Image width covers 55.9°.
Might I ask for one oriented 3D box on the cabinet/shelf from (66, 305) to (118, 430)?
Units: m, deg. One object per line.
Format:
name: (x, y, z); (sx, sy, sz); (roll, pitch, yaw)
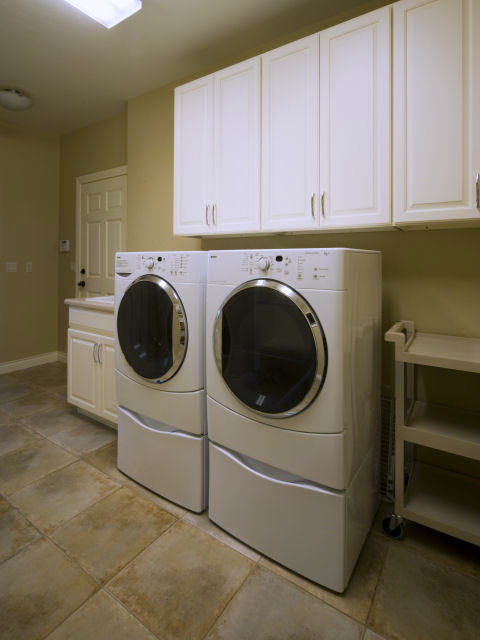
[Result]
cabinet/shelf: (-0.862, 0.296, 2.886); (0.430, 0.770, 0.376); (7, -5, -35)

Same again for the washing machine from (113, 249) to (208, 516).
washing machine: (-0.323, 0.184, 2.202); (0.478, 1.167, 0.499); (10, 16, 25)

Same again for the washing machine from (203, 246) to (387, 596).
washing machine: (0.221, 0.236, 1.833); (0.585, 1.281, 0.668); (-14, 21, -31)
